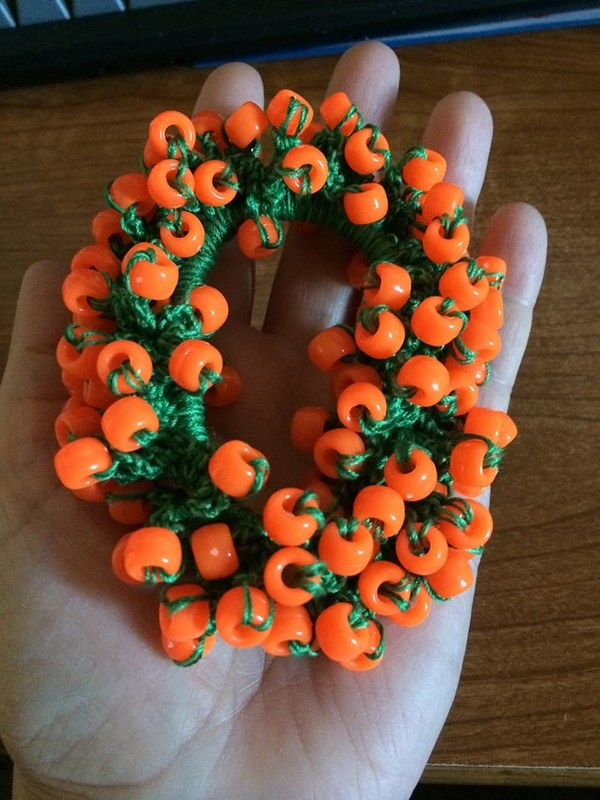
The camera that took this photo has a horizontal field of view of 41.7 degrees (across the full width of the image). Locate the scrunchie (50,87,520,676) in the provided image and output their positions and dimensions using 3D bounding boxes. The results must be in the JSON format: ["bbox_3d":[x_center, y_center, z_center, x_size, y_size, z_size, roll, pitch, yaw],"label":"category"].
[{"bbox_3d":[0.070,0.013,0.829,0.522,0.190,0.532,24,100,31],"label":"scrunchie"}]
